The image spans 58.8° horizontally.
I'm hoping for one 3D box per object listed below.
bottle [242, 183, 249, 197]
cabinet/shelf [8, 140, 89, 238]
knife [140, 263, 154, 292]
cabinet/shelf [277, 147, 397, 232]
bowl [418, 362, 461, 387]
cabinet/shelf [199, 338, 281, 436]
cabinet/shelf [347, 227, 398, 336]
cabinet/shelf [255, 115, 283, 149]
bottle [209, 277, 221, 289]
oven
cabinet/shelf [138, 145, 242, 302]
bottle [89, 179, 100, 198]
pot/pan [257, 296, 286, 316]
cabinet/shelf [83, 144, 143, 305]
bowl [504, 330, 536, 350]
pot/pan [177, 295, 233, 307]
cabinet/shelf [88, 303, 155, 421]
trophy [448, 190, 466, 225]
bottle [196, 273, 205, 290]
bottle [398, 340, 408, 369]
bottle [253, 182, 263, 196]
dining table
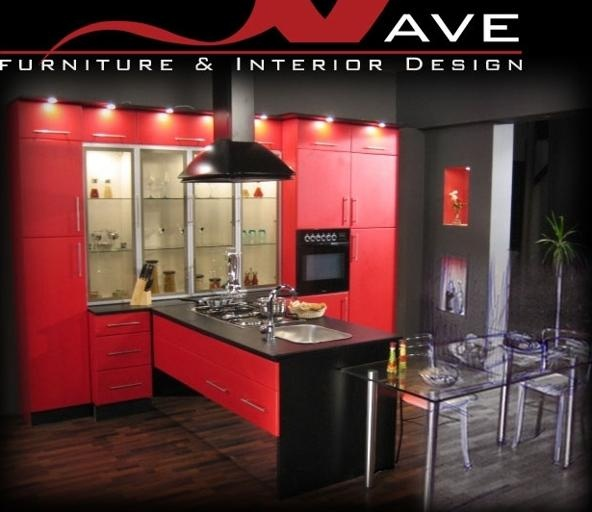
[{"bbox_3d":[-0.494,-0.634,5.135,0.086,0.134,0.026,-5,8,-37],"label":"bottle"},{"bbox_3d":[-1.969,-0.495,4.445,0.652,0.817,0.659,-1,1,44],"label":"cabinet/shelf"},{"bbox_3d":[-1.289,0.191,4.554,0.124,0.235,0.056,5,4,24],"label":"knife"},{"bbox_3d":[0.364,-0.679,5.328,0.937,0.587,0.320,-2,5,-25],"label":"cabinet/shelf"},{"bbox_3d":[0.798,0.651,2.890,0.195,0.091,0.146,-1,7,-10],"label":"bowl"},{"bbox_3d":[-0.319,0.806,3.310,0.500,0.380,0.779,-1,5,-30],"label":"cabinet/shelf"},{"bbox_3d":[0.846,0.339,5.866,0.540,1.217,0.414,1,-17,7],"label":"cabinet/shelf"},{"bbox_3d":[-0.303,-1.198,5.232,0.345,0.322,0.117,-6,11,-32],"label":"cabinet/shelf"},{"bbox_3d":[-0.783,0.263,5.029,0.107,0.152,0.099,0,2,0],"label":"bottle"},{"bbox_3d":[0.170,0.076,5.575,0.687,0.723,0.505,-2,2,-32],"label":"oven"},{"bbox_3d":[-1.025,-0.335,4.999,0.827,1.348,0.327,-2,17,-16],"label":"cabinet/shelf"},{"bbox_3d":[-1.721,-0.574,4.467,0.082,0.171,0.034,-4,8,-30],"label":"bottle"},{"bbox_3d":[-0.200,0.374,4.080,0.163,0.094,0.152,-2,3,-29],"label":"pot/pan"},{"bbox_3d":[-1.564,-0.271,4.649,0.395,1.025,0.136,1,5,29],"label":"cabinet/shelf"},{"bbox_3d":[1.676,0.639,3.951,0.129,0.064,0.171,-3,5,-22],"label":"bowl"},{"bbox_3d":[-0.748,0.385,4.442,0.304,0.042,0.190,-1,3,-19],"label":"pot/pan"},{"bbox_3d":[-1.620,0.915,4.684,0.573,0.866,0.620,-2,2,-42],"label":"cabinet/shelf"},{"bbox_3d":[1.760,-0.526,5.696,0.100,0.391,0.276,-2,7,-14],"label":"trophy"},{"bbox_3d":[-0.910,0.240,4.953,0.143,0.169,0.128,0,1,-18],"label":"bottle"},{"bbox_3d":[0.642,0.581,3.164,0.049,0.159,0.154,1,7,12],"label":"bottle"},{"bbox_3d":[-0.380,-0.643,5.204,0.030,0.136,0.108,6,9,42],"label":"bottle"},{"bbox_3d":[1.278,0.973,3.551,2.118,0.992,1.066,-7,9,-44],"label":"dining table"}]
